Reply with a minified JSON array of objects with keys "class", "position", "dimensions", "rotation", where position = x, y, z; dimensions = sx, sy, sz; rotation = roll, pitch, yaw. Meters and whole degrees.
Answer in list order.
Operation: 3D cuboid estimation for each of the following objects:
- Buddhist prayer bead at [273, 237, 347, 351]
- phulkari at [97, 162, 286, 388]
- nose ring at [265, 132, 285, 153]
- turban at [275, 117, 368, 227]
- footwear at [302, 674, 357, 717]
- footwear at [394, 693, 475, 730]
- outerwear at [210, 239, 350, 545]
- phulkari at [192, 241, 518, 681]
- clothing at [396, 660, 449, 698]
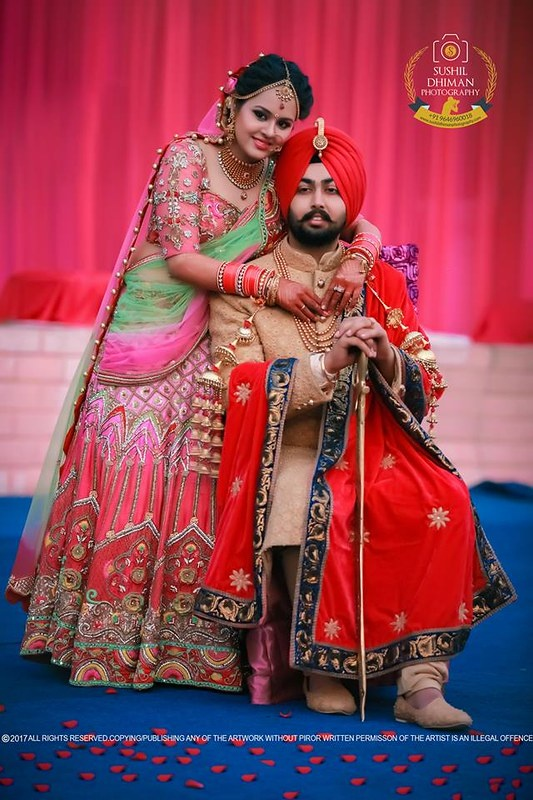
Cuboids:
[{"class":"Buddhist prayer bead","position":[0.112,-0.246,1.883],"dimensions":[0.203,0.235,0.043],"rotation":[0,-8,-13]},{"class":"phulkari","position":[-0.186,-0.274,1.966],"dimensions":[0.349,0.523,0.170],"rotation":[37,6,40]},{"class":"nose ring","position":[0.021,-0.618,1.899],"dimensions":[0.039,0.043,0.041],"rotation":[2,7,0]},{"class":"turban","position":[0.126,-0.534,1.964],"dimensions":[0.220,0.216,0.227],"rotation":[1,3,32]},{"class":"footwear","position":[0.135,0.620,1.638],"dimensions":[0.058,0.034,0.104],"rotation":[2,-7,-20]},{"class":"footwear","position":[0.323,0.606,1.551],"dimensions":[0.128,0.044,0.063],"rotation":[-6,-8,38]},{"class":"outerwear","position":[0.023,-0.035,1.742],"dimensions":[0.422,0.601,0.161],"rotation":[3,-6,-3]},{"class":"phulkari","position":[0.205,0.139,1.756],"dimensions":[0.713,0.839,0.424],"rotation":[1,4,-5]},{"class":"clothing","position":[0.322,0.555,1.585],"dimensions":[0.080,0.055,0.090],"rotation":[-1,-6,3]}]
